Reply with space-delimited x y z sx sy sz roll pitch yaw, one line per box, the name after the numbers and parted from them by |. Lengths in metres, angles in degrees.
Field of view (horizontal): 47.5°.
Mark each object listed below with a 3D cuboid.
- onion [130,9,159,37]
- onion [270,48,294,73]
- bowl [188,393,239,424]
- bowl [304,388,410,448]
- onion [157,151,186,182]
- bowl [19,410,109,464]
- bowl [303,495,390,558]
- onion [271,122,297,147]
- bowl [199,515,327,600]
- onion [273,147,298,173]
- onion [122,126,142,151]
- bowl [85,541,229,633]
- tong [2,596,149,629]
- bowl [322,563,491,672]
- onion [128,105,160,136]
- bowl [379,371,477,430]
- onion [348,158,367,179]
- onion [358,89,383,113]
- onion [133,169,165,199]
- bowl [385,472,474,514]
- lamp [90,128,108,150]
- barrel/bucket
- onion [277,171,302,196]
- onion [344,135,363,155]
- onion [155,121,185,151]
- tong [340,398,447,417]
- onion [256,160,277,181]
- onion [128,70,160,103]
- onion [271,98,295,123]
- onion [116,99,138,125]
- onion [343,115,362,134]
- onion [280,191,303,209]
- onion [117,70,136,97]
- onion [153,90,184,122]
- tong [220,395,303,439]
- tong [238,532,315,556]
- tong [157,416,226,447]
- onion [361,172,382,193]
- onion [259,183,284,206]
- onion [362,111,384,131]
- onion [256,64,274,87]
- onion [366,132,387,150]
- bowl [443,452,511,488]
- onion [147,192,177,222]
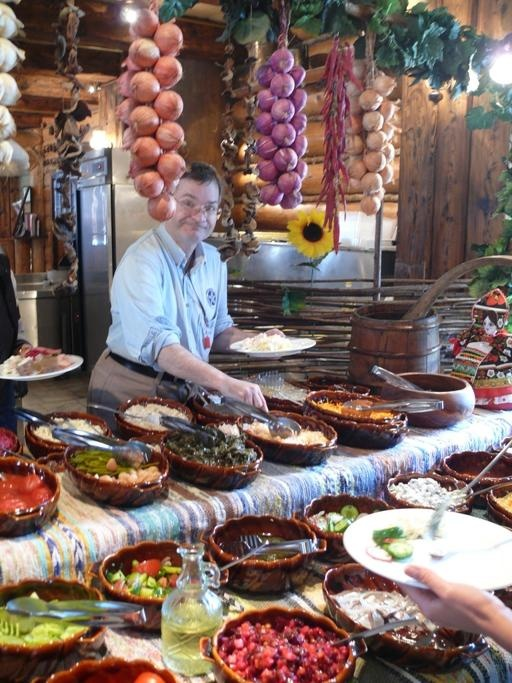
-0.308 -0.864 1.572 0.087 0.072 0.048 2 5 24 | onion
0.081 -0.895 1.858 0.074 0.086 0.126 0 5 2 | onion
-0.148 0.231 1.919 0.116 0.043 0.108 11 7 -1 | bowl
0.317 0.259 1.902 0.225 0.073 0.217 4 4 0 | bowl
-0.229 -0.475 1.627 0.082 0.077 0.090 13 44 1 | onion
-0.559 0.261 1.645 0.184 0.080 0.188 9 7 -1 | bowl
0.209 0.468 1.496 0.160 0.058 0.142 -4 6 -29 | bowl
0.087 -0.675 1.889 0.080 0.071 0.068 0 5 1 | onion
0.020 0.476 1.279 0.208 0.066 0.163 2 12 1 | bowl
0.094 -0.595 1.899 0.078 0.071 0.088 15 2 -8 | onion
-0.350 -0.557 1.601 0.044 0.051 0.068 13 1 6 | onion
-0.234 0.472 1.165 0.217 0.069 0.185 4 14 -2 | bowl
-0.283 0.424 0.892 0.197 0.039 0.056 0 5 2 | tong
0.266 0.556 1.146 0.213 0.046 0.168 16 9 28 | bowl
-0.304 -0.598 1.570 0.083 0.086 0.055 -1 5 -2 | onion
0.626 0.205 2.076 0.249 0.099 0.253 -2 8 0 | bowl
0.363 -0.618 2.108 0.058 0.073 0.059 8 -36 43 | onion
0.388 -0.826 1.999 0.069 0.079 0.067 5 -14 -7 | onion
-0.287 -0.432 1.584 0.056 0.060 0.051 -30 -43 14 | onion
0.468 0.396 1.630 0.177 0.059 0.154 2 7 20 | bowl
-2.195 -2.840 8.126 0.214 0.358 0.510 -2 5 -23 | lamp
0.496 0.018 2.337 0.375 0.313 0.347 0 15 0 | barrel/bucket
0.111 -0.526 1.968 0.078 0.075 0.088 6 19 -23 | onion
0.350 -0.705 2.088 0.067 0.067 0.062 -9 6 -5 | onion
-0.231 -0.559 1.620 0.085 0.077 0.096 2 5 -14 | onion
0.451 0.219 1.914 0.340 0.052 0.074 0 2 10 | tong
0.038 -0.572 1.949 0.060 0.059 0.074 -32 10 -12 | onion
-0.298 -0.680 1.549 0.084 0.077 0.084 -24 34 -37 | onion
0.085 -0.745 1.874 0.076 0.073 0.065 -1 5 -3 | onion
-0.359 -0.649 1.665 0.052 0.064 0.082 6 -3 -8 | onion
0.344 -0.769 2.067 0.064 0.066 0.060 -9 3 16 | onion
0.117 -0.484 2.012 0.064 0.039 0.074 -12 4 10 | onion
-0.368 -0.719 1.638 0.046 0.059 0.073 11 -28 5 | onion
-0.236 -0.648 1.616 0.087 0.076 0.098 -1 12 -19 | onion
0.028 0.221 1.728 0.272 0.078 0.089 20 17 2 | tong
0.031 0.438 1.278 0.053 0.055 0.194 20 -20 -39 | tong
-0.181 0.234 1.636 0.228 0.056 0.067 15 -1 26 | tong
0.406 -0.563 2.070 0.073 0.068 0.081 7 16 4 | onion
0.036 -0.500 1.999 0.086 0.075 0.080 -4 8 -31 | onion
0.408 -0.770 2.031 0.077 0.069 0.068 0 5 4 | onion
0.027 -0.865 1.890 0.072 0.074 0.068 1 10 -1 | onion
0.414 -0.703 2.033 0.069 0.074 0.065 -10 36 11 | onion
0.713 0.399 1.883 0.156 0.052 0.144 -3 6 0 | bowl
-0.254 -0.384 1.681 0.082 0.071 0.090 6 2 0 | onion
